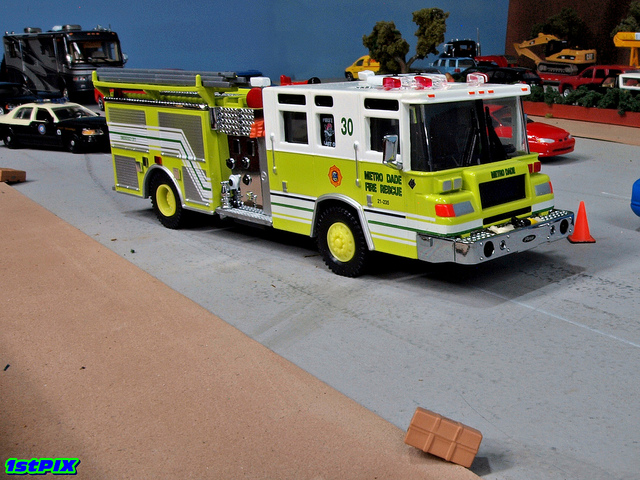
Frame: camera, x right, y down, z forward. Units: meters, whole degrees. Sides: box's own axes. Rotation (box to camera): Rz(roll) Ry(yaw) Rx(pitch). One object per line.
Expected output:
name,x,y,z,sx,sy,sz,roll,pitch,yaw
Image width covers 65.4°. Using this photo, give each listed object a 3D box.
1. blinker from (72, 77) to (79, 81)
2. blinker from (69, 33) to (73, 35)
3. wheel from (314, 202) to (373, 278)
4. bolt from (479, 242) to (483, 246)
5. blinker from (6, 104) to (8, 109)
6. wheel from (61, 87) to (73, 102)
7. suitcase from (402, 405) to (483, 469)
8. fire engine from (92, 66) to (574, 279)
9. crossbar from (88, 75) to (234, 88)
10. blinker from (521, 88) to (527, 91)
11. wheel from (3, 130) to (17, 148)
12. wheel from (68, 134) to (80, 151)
blinker,-13.834,-9.132,28.226,0.346,0.176,0.059,-1,20,7
blinker,-14.005,-11.590,27.966,0.141,0.069,0.031,-11,21,-22
wheel,0.436,-0.047,8.321,0.486,1.146,1.104,-17,19,-40
bolt,2.302,0.053,7.081,0.069,0.053,0.009,-14,22,-28
blinker,-15.609,-6.656,24.812,0.103,0.195,0.508,-15,23,-28
wheel,-14.639,-8.463,28.922,1.005,0.798,0.506,15,27,42
suitcase,1.228,1.765,4.856,0.859,0.460,0.442,22,-2,9
fire engine,-0.536,-1.717,9.949,9.911,3.624,2.614,11,25,36
crossbar,-3.125,-3.219,10.076,4.386,0.214,0.377,7,20,26
blinker,3.338,-2.450,8.091,0.079,0.042,0.027,-1,20,8
wheel,-13.500,-4.416,21.667,0.931,0.777,0.210,13,26,39
wheel,-9.728,-3.860,19.680,0.708,0.646,0.133,10,24,33
